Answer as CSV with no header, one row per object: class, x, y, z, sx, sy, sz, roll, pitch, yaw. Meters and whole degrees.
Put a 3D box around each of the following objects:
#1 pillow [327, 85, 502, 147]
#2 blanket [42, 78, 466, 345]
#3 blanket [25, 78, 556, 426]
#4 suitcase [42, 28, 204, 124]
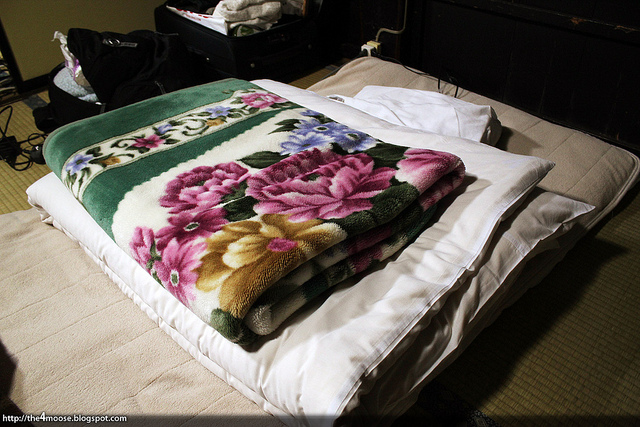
pillow,0.423,-0.418,1.832,0.430,0.121,0.407,26,27,33
blanket,-0.258,-0.149,1.552,1.039,0.233,1.192,-23,42,-28
blanket,-0.082,0.183,1.351,1.165,0.280,0.986,32,56,32
suitcase,-1.304,-0.838,2.539,0.606,0.486,0.215,0,12,36
